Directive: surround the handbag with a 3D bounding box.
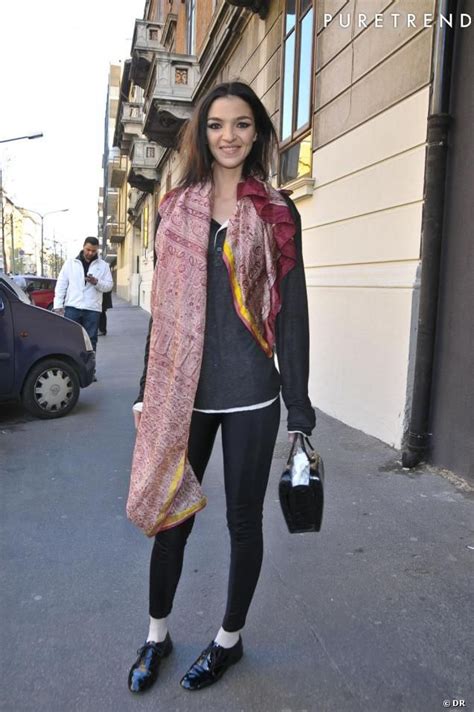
[{"bbox_3d":[0.183,0.354,1.456,0.112,0.233,0.199,-7,2,12],"label":"handbag"}]

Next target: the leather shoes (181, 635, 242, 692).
[{"bbox_3d":[-0.084,0.926,1.617,0.078,0.094,0.212,17,24,35],"label":"leather shoes"}]

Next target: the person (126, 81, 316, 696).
[{"bbox_3d":[-0.054,0.092,1.510,0.543,1.825,0.357,1,4,3],"label":"person"}]

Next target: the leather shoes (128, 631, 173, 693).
[{"bbox_3d":[-0.270,0.948,1.617,0.056,0.064,0.172,3,8,13],"label":"leather shoes"}]
